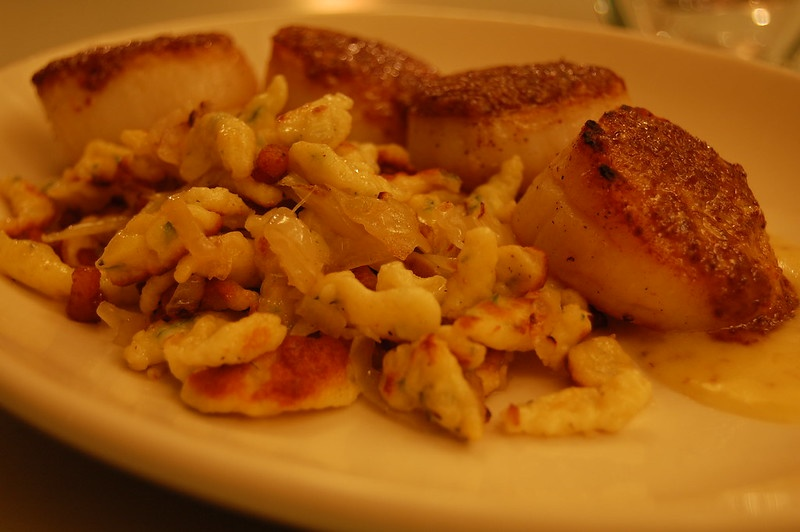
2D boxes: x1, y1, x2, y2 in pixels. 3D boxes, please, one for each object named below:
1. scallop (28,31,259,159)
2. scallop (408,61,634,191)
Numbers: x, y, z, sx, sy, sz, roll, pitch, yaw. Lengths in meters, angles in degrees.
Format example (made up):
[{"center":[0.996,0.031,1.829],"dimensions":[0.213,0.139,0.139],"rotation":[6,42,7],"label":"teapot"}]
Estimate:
[{"center":[-0.513,-0.362,1.530],"dimensions":[0.407,0.097,0.214],"rotation":[-14,87,-16],"label":"scallop"},{"center":[0.244,-0.319,1.528],"dimensions":[0.400,0.133,0.236],"rotation":[-23,53,-3],"label":"scallop"}]
